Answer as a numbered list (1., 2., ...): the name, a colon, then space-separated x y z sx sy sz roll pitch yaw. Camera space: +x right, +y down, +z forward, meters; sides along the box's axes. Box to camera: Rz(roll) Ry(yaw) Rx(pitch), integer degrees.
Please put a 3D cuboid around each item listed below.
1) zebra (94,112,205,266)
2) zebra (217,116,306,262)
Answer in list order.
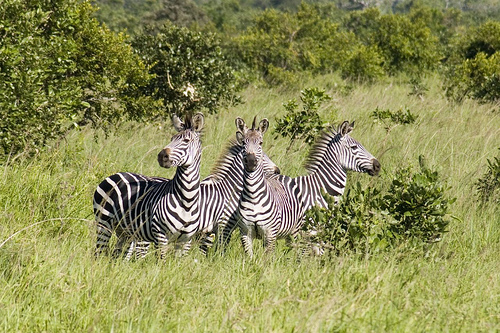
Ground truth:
1. zebra: -1.386 0.287 8.259 1.445 2.209 0.629 8 6 19
2. zebra: 0.223 0.354 8.407 1.243 1.959 0.802 4 6 -17
